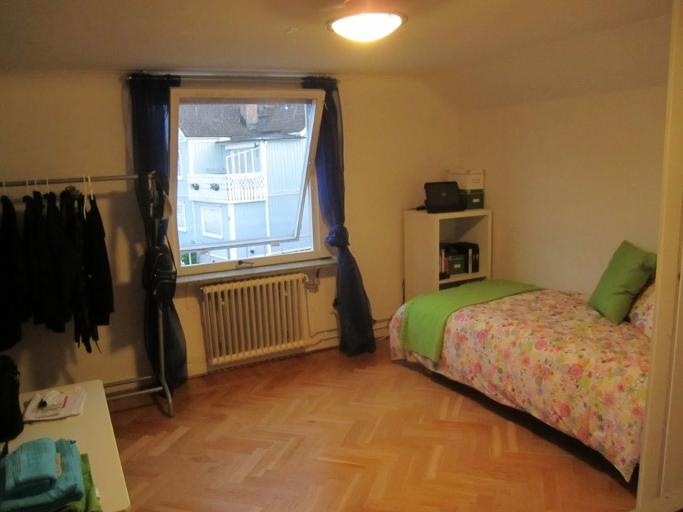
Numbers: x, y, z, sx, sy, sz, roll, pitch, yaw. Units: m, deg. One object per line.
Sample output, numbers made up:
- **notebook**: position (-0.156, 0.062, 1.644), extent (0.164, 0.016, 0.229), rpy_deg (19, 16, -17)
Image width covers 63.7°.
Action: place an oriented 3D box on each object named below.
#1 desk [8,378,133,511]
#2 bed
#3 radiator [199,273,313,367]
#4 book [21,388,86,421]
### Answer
- **desk**: position (-1.512, 1.054, 3.004), extent (0.510, 0.255, 1.134), rpy_deg (-10, 13, -27)
- **bed**: position (1.426, 0.719, 3.869), extent (1.032, 0.309, 1.056), rpy_deg (20, 22, 37)
- **radiator**: position (-0.826, 0.571, 5.005), extent (0.719, 0.701, 0.152), rpy_deg (-5, 11, -27)
- **book**: position (-1.708, 0.895, 3.274), extent (0.178, 0.064, 0.191), rpy_deg (-4, 14, -25)
